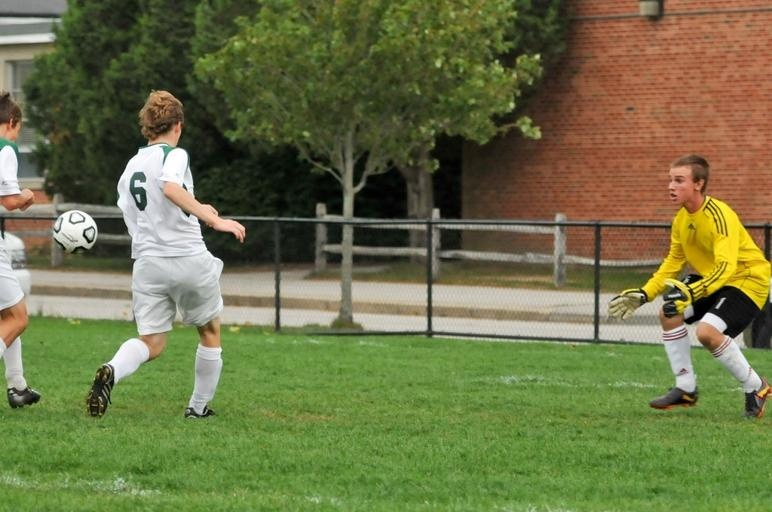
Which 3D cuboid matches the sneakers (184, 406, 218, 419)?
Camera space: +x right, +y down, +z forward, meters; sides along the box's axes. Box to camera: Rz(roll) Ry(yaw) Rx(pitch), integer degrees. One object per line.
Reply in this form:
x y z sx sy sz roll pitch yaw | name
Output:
-2.662 2.235 20.744 0.457 0.166 0.164 0 1 -25 | sneakers

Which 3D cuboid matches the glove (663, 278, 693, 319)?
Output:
4.220 0.637 20.794 0.402 0.591 0.287 21 -19 25 | glove
